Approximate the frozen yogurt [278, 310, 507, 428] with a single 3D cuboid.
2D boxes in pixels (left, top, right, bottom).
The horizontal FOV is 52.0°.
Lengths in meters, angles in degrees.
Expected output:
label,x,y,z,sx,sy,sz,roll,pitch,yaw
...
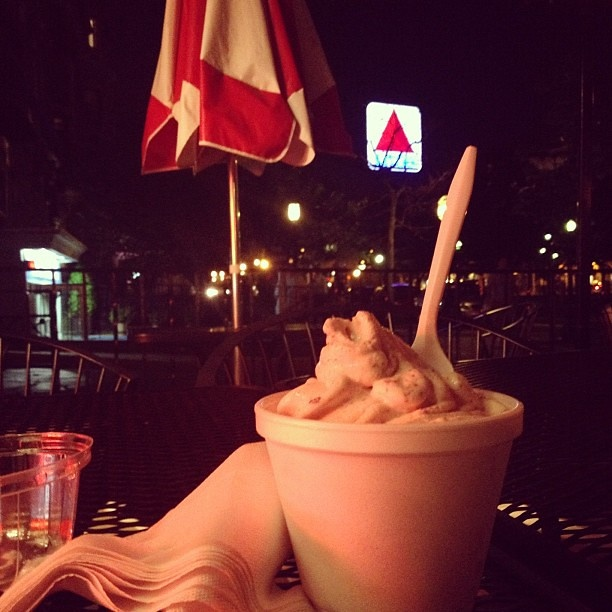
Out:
label,x,y,z,sx,sy,sz,roll,pitch,yaw
frozen yogurt,0.066,0.059,0.576,0.117,0.070,0.118,0,1,-37
